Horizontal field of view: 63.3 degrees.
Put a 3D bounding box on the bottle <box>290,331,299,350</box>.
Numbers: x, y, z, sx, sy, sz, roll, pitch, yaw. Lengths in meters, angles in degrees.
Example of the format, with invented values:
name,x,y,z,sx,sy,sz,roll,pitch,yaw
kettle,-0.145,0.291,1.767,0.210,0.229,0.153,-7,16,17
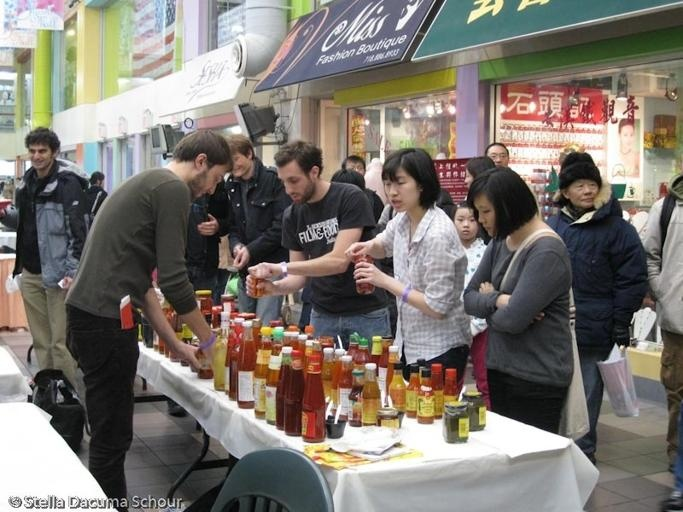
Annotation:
name,x,y,z,sx,sy,sz,roll,pitch,yaw
bottle,-0.202,0.365,2.410,0.051,0.094,0.054,1,-5,0

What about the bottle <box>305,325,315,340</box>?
name,x,y,z,sx,sy,sz,roll,pitch,yaw
bottle,-0.144,0.355,2.555,0.049,0.081,0.054,0,-2,0

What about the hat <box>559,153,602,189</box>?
name,x,y,z,sx,sy,sz,roll,pitch,yaw
hat,1.682,-0.579,3.959,0.238,0.253,0.261,-2,0,-4

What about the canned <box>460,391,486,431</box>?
name,x,y,z,sx,sy,sz,roll,pitch,yaw
canned,0.538,0.635,2.264,0.097,0.136,0.137,-4,-10,24

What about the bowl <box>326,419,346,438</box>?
name,x,y,z,sx,sy,sz,roll,pitch,yaw
bowl,-0.020,0.645,2.069,0.057,0.046,0.066,-1,-6,-14

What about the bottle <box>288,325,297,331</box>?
name,x,y,z,sx,sy,sz,roll,pitch,yaw
bottle,-0.216,0.323,2.483,0.027,0.026,0.027,5,-5,-40

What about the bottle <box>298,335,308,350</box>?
name,x,y,z,sx,sy,sz,roll,pitch,yaw
bottle,-0.170,0.378,2.435,0.050,0.089,0.052,1,0,0

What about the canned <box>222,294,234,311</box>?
name,x,y,z,sx,sy,sz,roll,pitch,yaw
canned,-0.613,0.253,3.015,0.074,0.090,0.079,0,-1,-5

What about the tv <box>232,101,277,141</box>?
name,x,y,z,sx,sy,sz,roll,pitch,yaw
tv,-1.176,-1.972,8.200,0.535,0.579,0.365,-14,20,-14

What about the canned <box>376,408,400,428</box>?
name,x,y,z,sx,sy,sz,roll,pitch,yaw
canned,0.181,0.614,2.154,0.071,0.073,0.073,-1,0,37

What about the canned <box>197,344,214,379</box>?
name,x,y,z,sx,sy,sz,roll,pitch,yaw
canned,-0.730,0.535,2.988,0.098,0.251,0.100,-3,1,-21

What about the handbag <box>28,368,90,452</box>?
name,x,y,z,sx,sy,sz,roll,pitch,yaw
handbag,-2.019,1.170,4.254,0.295,0.583,0.395,-6,17,-2
